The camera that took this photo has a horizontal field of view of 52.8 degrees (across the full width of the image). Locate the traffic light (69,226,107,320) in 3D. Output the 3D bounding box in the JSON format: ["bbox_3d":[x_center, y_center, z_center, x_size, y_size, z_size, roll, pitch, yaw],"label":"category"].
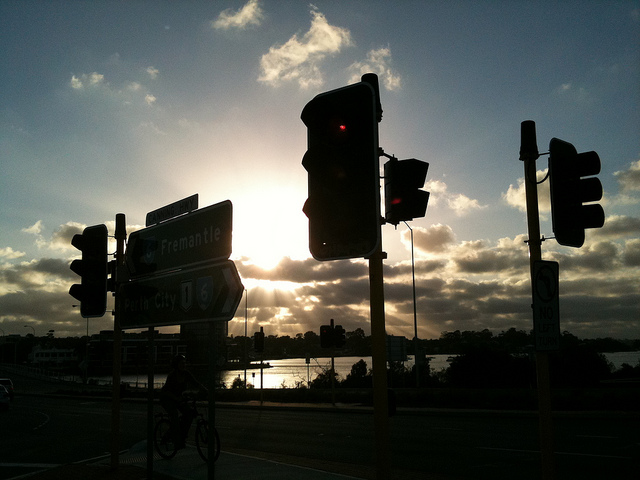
[{"bbox_3d":[-6.030,0.823,16.864,0.859,2.405,0.611,4,-11,-23],"label":"traffic light"}]

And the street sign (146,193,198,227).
[{"bbox_3d":[-3.179,-0.580,14.492,1.049,0.280,0.018,-19,-23,29],"label":"street sign"}]
